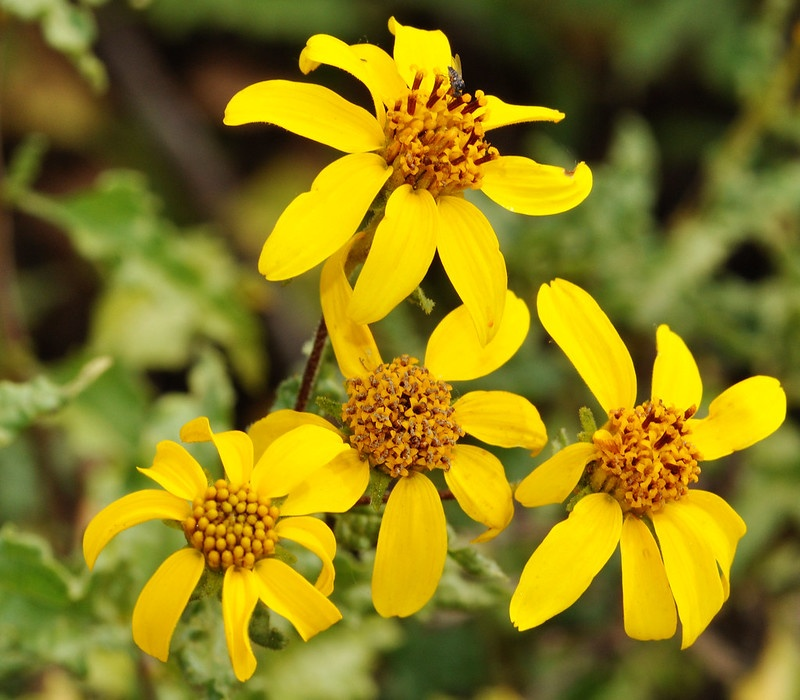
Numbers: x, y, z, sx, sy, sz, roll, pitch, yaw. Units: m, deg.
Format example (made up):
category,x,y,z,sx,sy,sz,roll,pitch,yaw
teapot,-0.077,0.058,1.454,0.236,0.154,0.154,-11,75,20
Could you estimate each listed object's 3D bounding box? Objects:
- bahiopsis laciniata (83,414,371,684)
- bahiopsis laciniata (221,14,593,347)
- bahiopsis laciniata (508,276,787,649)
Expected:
category,x,y,z,sx,sy,sz,roll,pitch,yaw
bahiopsis laciniata,-0.503,0.631,2.899,0.742,0.696,0.714,1,75,5
bahiopsis laciniata,0.168,-0.659,3.064,0.829,0.467,1.154,3,30,21
bahiopsis laciniata,0.692,0.344,3.046,0.980,0.553,1.202,11,61,-24
